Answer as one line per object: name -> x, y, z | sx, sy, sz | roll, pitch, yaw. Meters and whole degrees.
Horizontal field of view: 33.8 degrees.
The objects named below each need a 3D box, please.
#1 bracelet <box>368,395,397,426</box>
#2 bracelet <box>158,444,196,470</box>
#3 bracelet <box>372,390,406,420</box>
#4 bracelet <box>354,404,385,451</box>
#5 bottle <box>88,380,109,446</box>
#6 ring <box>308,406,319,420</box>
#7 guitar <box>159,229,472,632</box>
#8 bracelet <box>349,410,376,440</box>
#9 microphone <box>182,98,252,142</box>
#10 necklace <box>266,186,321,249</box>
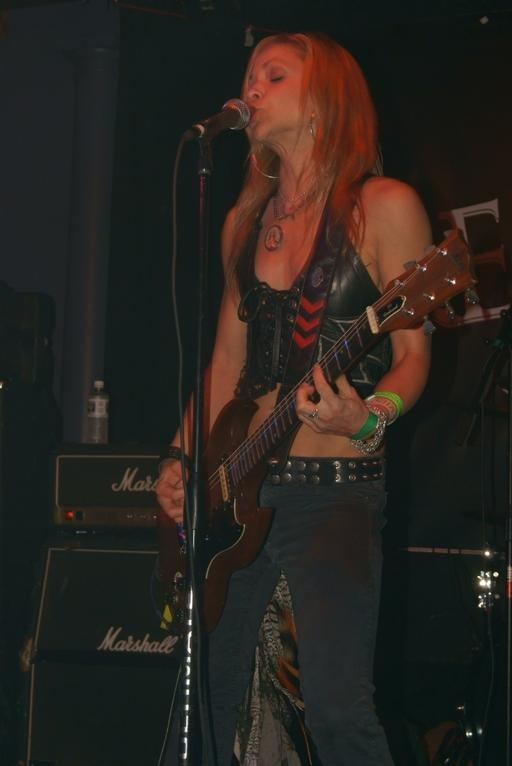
bracelet -> 0.273, 0.058, 1.808 | 0.068, 0.050, 0.017 | 31, -19, 50
bracelet -> -0.205, 0.186, 2.136 | 0.071, 0.037, 0.093 | 3, 3, -8
bracelet -> 0.294, 0.040, 1.862 | 0.064, 0.047, 0.063 | 13, 13, -30
bracelet -> 0.240, 0.096, 1.785 | 0.066, 0.091, 0.034 | -4, -15, 38
bottle -> -0.508, 0.094, 2.722 | 0.073, 0.188, 0.378 | 3, 0, -10
ring -> 0.116, 0.063, 1.738 | 0.005, 0.020, 0.020 | 13, -24, -33
guitar -> 0.164, 0.133, 2.056 | 0.168, 0.400, 1.145 | 6, -39, -30
bracelet -> 0.224, 0.092, 1.767 | 0.051, 0.060, 0.035 | 3, 0, 23
microphone -> -0.098, -0.562, 1.813 | 0.070, 0.069, 0.202 | 18, 30, 32
necklace -> 0.084, -0.445, 2.220 | 0.028, 0.083, 0.175 | 10, -22, -30
